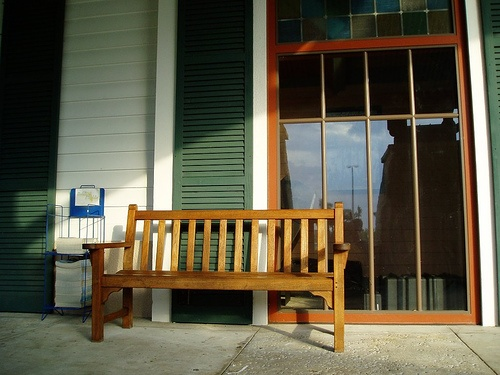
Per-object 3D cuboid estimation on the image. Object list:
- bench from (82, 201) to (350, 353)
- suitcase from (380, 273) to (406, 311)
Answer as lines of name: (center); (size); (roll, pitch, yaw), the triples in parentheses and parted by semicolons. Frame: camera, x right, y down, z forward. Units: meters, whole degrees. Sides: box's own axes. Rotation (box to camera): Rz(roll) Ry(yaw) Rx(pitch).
bench: (-0.247, 0.704, 3.940); (2.091, 1.106, 0.757); (-1, -4, 7)
suitcase: (1.302, 0.932, 4.260); (0.269, 0.380, 0.280); (-2, -2, 22)
